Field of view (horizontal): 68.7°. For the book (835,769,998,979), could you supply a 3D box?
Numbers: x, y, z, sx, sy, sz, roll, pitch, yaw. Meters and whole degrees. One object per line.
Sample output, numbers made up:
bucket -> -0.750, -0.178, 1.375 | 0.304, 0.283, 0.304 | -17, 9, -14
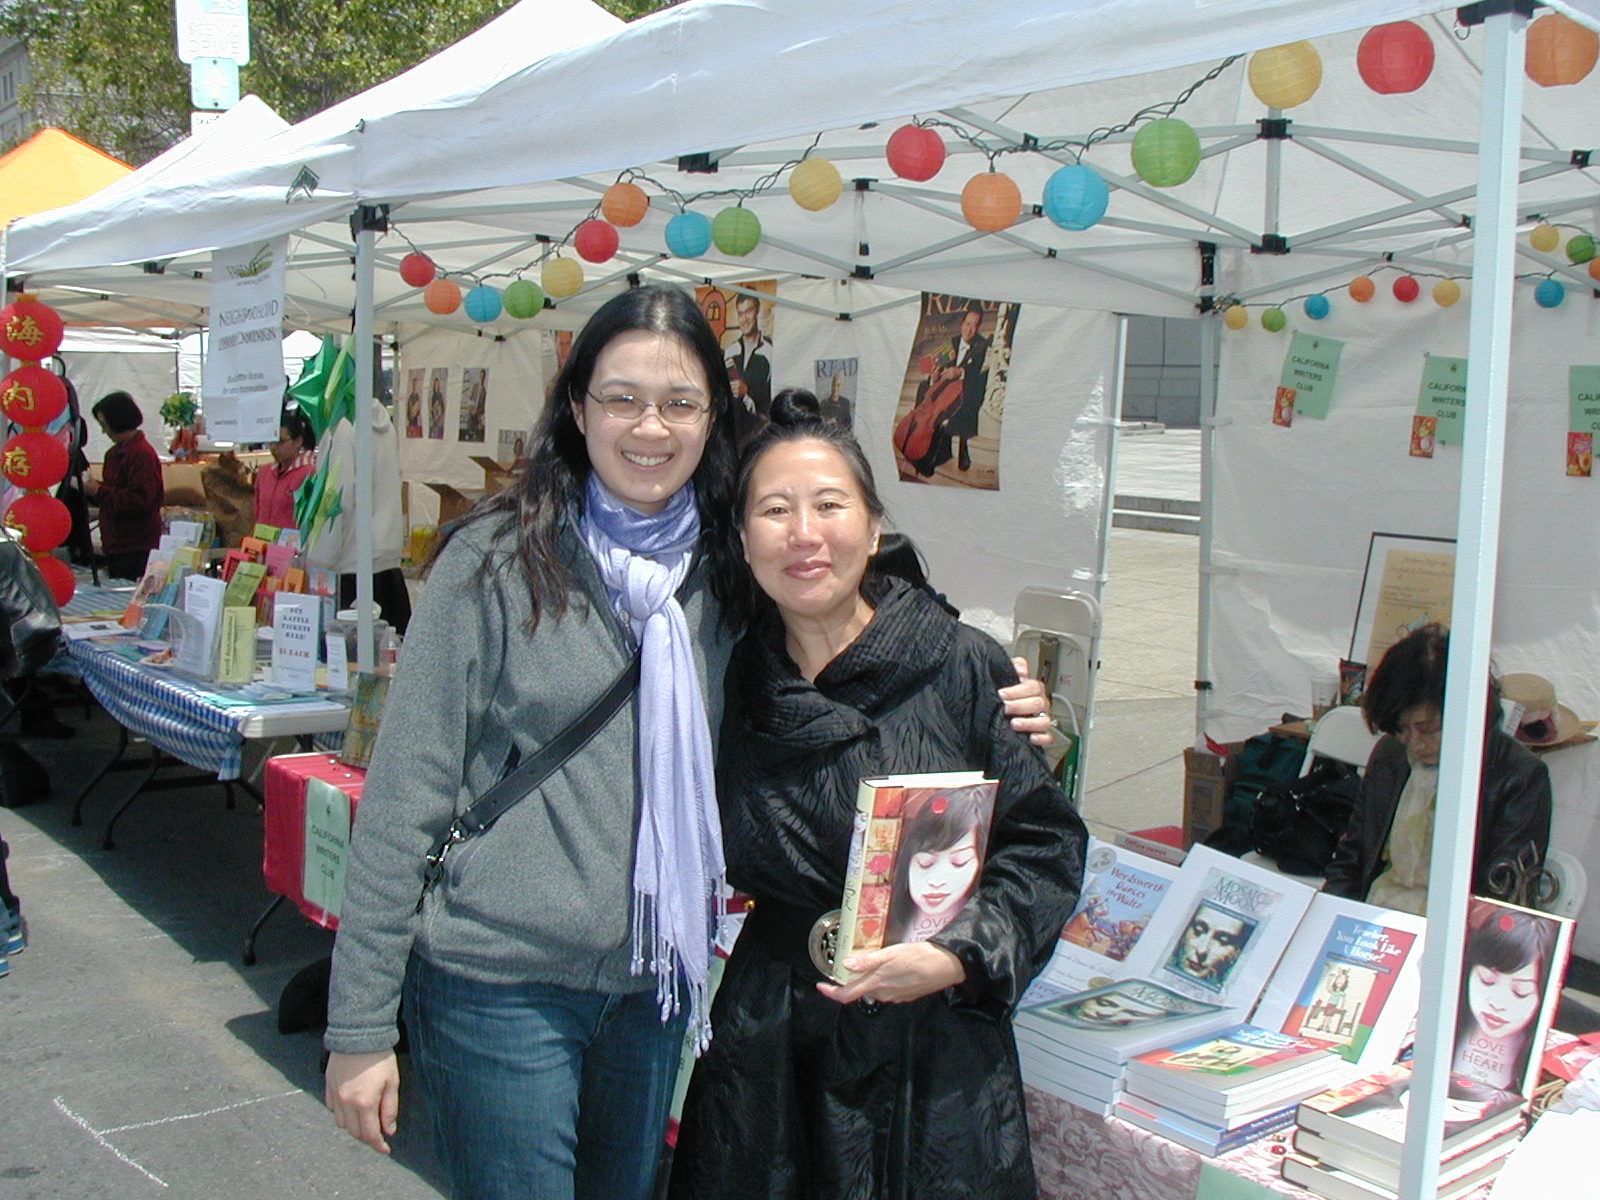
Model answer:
book -> 0.171, 0.416, 1.769 | 0.242, 0.301, 0.076 | -1, 9, -29

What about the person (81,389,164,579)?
person -> -4.906, -0.797, 8.567 | 0.396, 1.396, 0.976 | -2, 9, -30

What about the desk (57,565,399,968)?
desk -> -2.332, 0.671, 4.706 | 0.622, 0.658, 1.488 | -2, 12, -39

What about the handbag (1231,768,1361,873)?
handbag -> 1.927, 0.853, 4.426 | 0.403, 0.161, 0.310 | -7, 21, -40

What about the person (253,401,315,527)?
person -> -2.641, -0.674, 5.995 | 0.268, 0.602, 1.063 | 0, 9, -24
